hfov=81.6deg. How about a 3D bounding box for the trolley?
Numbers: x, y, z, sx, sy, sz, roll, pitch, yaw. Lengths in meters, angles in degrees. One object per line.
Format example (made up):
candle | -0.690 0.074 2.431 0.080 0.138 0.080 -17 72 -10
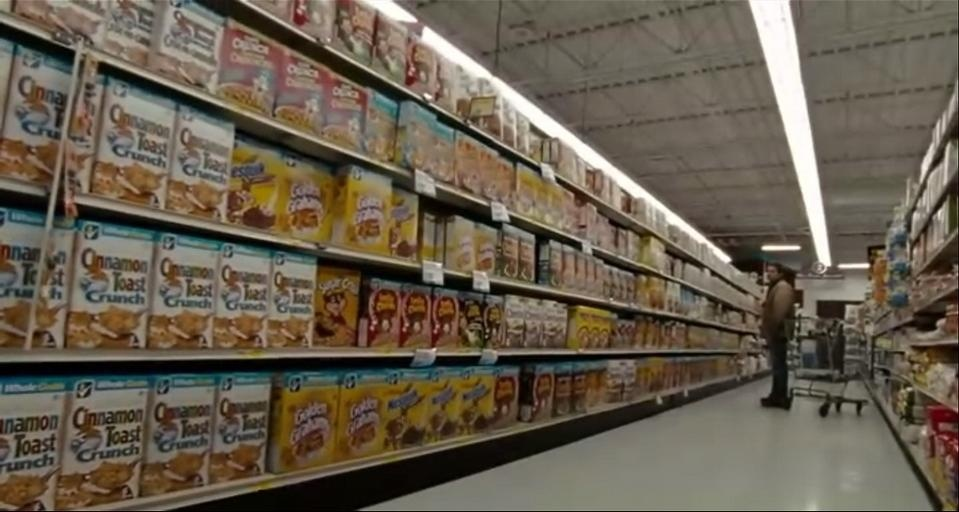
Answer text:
trolley | 5.704 1.798 9.061 1.327 1.672 1.956 -8 -35 36

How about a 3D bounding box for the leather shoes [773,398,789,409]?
leather shoes | 4.038 1.962 7.404 0.172 0.133 0.284 0 -3 18
